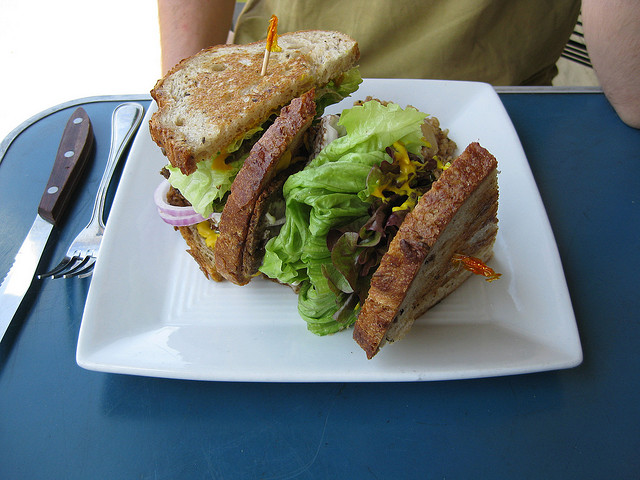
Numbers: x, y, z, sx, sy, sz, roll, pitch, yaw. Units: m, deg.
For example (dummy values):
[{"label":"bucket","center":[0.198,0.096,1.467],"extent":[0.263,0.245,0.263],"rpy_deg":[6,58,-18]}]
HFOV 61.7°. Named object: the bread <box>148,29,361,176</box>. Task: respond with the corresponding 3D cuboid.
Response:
[{"label":"bread","center":[-0.291,-0.609,2.138],"extent":[0.612,0.629,0.830],"rpy_deg":[22,32,39]}]
